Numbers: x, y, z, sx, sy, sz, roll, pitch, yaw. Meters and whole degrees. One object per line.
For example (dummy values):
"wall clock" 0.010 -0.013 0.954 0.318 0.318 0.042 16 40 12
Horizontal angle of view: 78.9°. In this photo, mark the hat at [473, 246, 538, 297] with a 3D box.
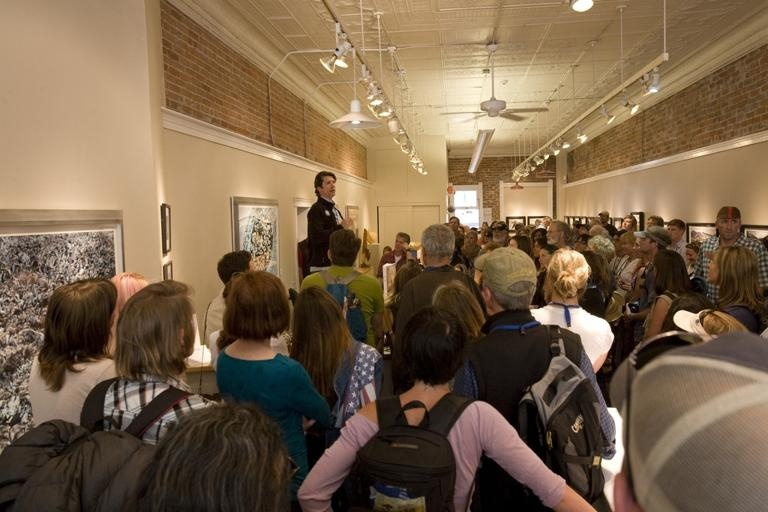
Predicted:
"hat" 0.679 0.041 2.561 0.298 0.165 0.412 -1 26 -6

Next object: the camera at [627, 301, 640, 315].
"camera" 2.776 0.585 5.223 0.136 0.107 0.139 -2 8 -23

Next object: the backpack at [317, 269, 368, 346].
"backpack" -0.372 0.393 3.506 0.408 0.631 0.433 -11 -13 35

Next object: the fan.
"fan" 2.117 -3.313 8.992 1.536 1.402 1.533 -5 5 -40

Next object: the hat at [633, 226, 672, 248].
"hat" 3.294 -0.195 5.670 0.341 0.186 0.229 17 16 15
